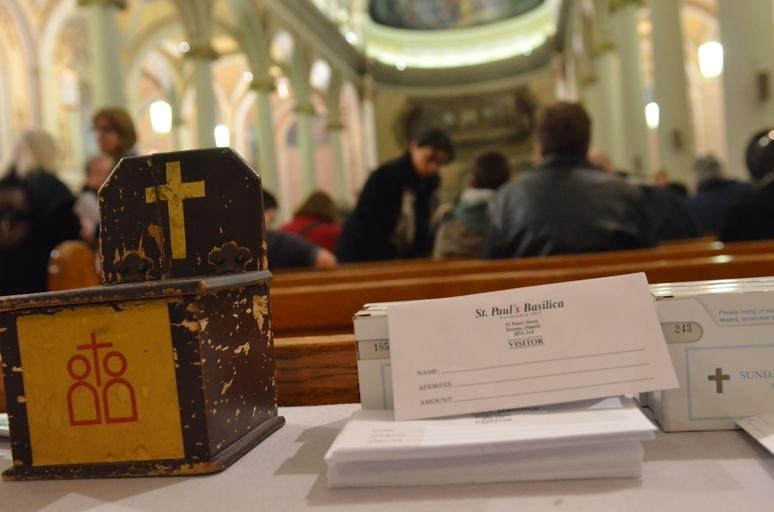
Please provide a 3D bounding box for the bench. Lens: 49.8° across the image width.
[{"bbox_3d":[0.536,0.192,3.350,1.988,0.421,1.652,-4,-1,-9],"label":"bench"}]
